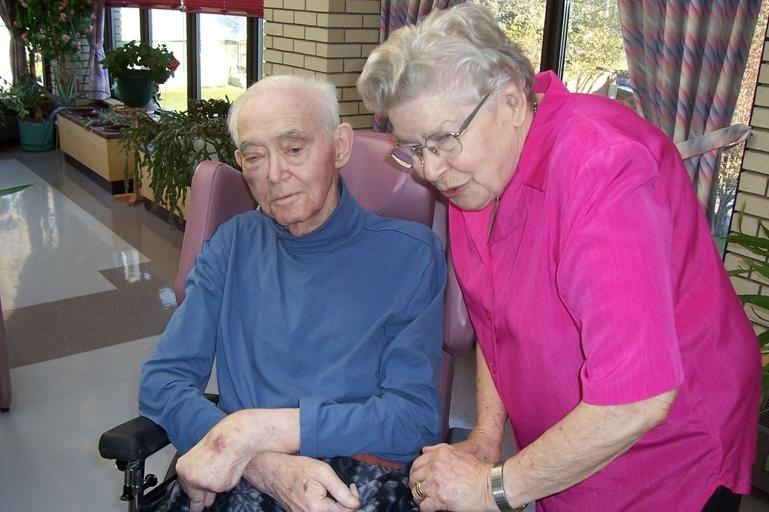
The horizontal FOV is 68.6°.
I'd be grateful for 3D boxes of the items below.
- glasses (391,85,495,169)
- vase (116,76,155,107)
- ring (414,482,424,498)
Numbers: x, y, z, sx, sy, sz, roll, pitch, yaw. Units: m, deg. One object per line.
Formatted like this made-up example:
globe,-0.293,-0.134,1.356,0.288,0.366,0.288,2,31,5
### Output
glasses,0.123,-0.310,1.386,0.172,0.052,0.164,-52,21,-25
vase,-2.729,-1.784,6.187,0.304,0.259,0.303,-20,35,-40
ring,0.094,0.641,1.543,0.032,0.042,0.036,-11,-12,13
